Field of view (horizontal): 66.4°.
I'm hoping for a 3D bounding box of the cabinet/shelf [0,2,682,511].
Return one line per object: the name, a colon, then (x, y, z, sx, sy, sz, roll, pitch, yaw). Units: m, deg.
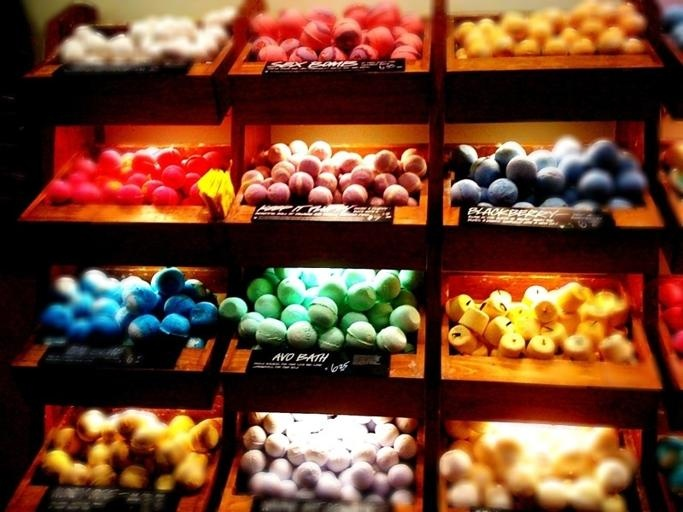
cabinet/shelf: (0.039, 0.039, 1.908, 1.855, 1.434, 0.757, 0, 2, 7)
